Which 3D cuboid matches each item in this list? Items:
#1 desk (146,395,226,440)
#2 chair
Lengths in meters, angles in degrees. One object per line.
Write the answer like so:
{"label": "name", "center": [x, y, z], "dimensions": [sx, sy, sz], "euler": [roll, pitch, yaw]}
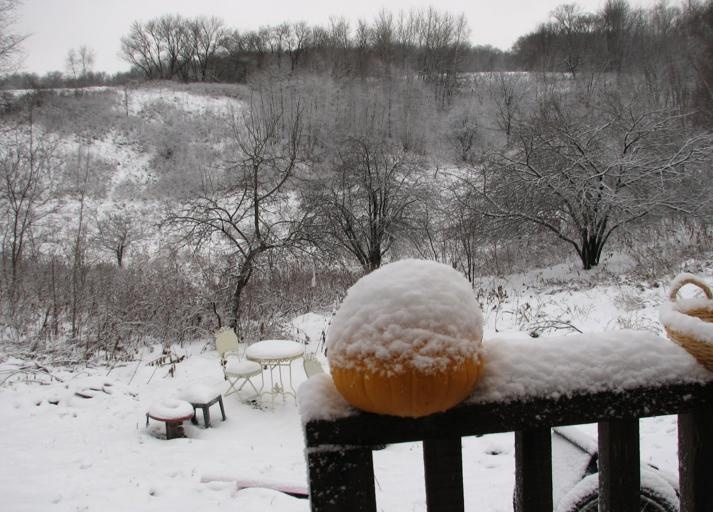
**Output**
{"label": "desk", "center": [-5.752, 5.329, 25.279], "dimensions": [2.477, 1.155, 0.868], "euler": [-3, 1, -19]}
{"label": "chair", "center": [-3.262, 3.755, 26.614], "dimensions": [3.372, 1.822, 2.849], "euler": [-2, 1, 3]}
